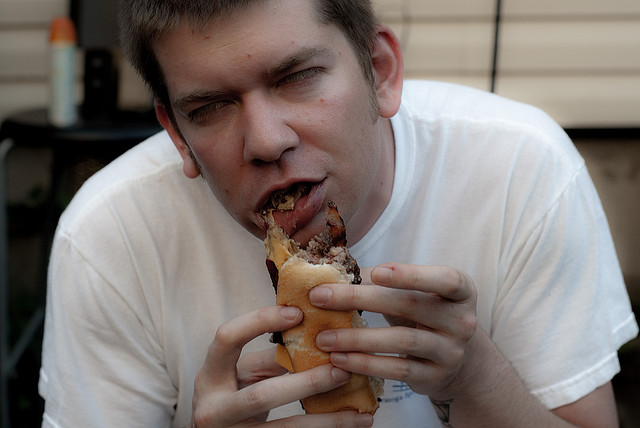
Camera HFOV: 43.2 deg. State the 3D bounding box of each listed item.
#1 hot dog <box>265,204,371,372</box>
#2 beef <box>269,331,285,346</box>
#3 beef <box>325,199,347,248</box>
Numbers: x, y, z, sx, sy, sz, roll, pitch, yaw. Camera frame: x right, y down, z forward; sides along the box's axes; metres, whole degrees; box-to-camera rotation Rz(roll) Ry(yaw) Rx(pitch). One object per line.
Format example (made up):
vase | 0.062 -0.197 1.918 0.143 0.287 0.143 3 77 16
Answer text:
hot dog | -0.021 0.303 4.010 0.456 0.824 0.242 -7 6 22
beef | -0.217 0.617 4.028 0.066 0.077 0.023 -1 1 38
beef | 0.078 0.057 3.982 0.069 0.270 0.064 -17 16 -17
